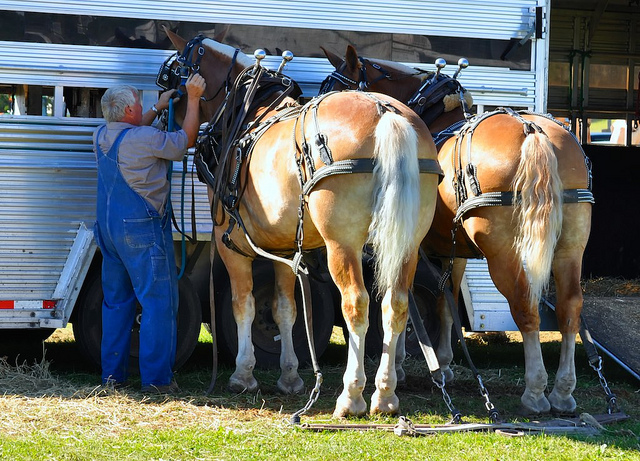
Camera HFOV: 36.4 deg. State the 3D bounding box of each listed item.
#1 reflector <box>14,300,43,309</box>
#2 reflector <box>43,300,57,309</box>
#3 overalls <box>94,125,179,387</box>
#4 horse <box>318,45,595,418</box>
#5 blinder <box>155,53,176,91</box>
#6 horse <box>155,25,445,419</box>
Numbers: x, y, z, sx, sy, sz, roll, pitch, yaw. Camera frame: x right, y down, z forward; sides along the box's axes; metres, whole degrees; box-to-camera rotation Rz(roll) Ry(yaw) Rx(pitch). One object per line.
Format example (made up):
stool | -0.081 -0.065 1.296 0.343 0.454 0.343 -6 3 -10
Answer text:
reflector | -2.584 0.657 8.680 0.241 0.075 0.016 0 7 -10
reflector | -2.401 0.659 8.707 0.119 0.072 0.027 1 7 3
overalls | -1.644 0.213 8.581 0.710 2.319 0.553 -8 -14 27
horse | 1.110 0.003 8.399 1.196 2.725 3.083 -2 3 -34
blinder | -1.385 -1.413 8.770 0.159 0.284 0.063 -2 16 -44
horse | -0.185 -0.127 8.250 2.272 3.170 0.750 7 9 40
